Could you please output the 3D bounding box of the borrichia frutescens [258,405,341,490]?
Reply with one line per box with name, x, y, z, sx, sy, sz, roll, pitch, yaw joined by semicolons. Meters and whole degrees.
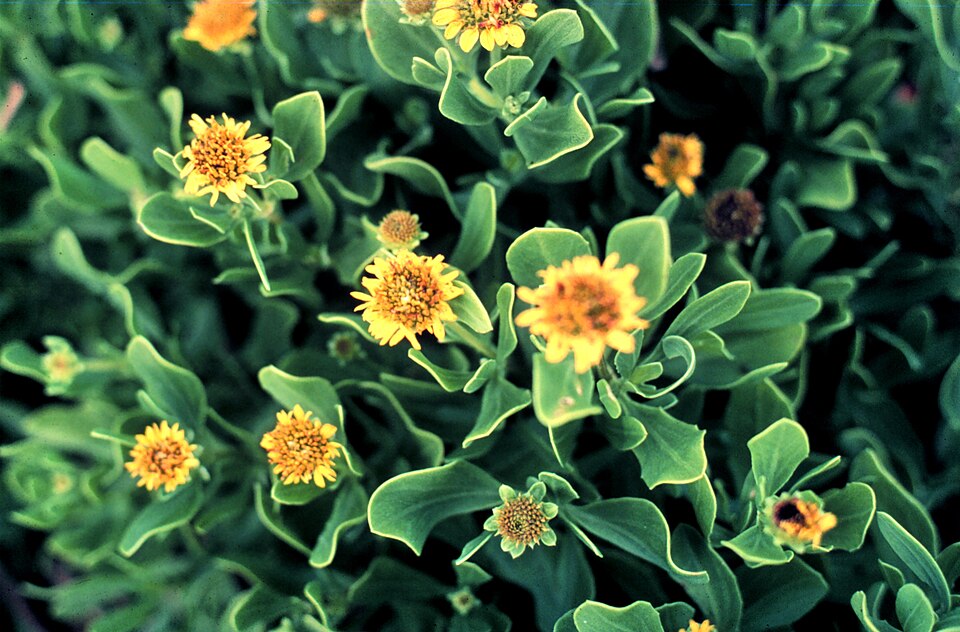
borrichia frutescens;-0.270;0.206;1.393;0.121;0.095;0.116;29;75;1
